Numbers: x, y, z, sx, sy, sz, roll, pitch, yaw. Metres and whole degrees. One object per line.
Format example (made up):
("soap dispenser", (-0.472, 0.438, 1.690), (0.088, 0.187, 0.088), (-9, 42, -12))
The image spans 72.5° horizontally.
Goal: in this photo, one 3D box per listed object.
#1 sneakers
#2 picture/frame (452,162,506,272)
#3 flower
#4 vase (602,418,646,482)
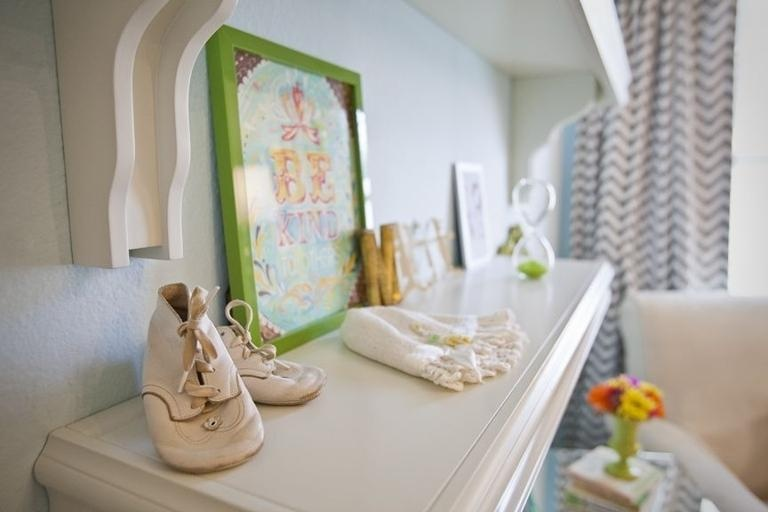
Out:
("sneakers", (-0.265, 0.171, 0.871), (0.199, 0.145, 0.302), (11, 19, -6))
("picture/frame", (0.333, -0.142, 1.879), (0.027, 0.378, 0.359), (-6, -17, 25))
("flower", (0.746, 0.437, 1.621), (0.210, 0.121, 0.211), (8, 7, 41))
("vase", (0.701, 0.575, 1.552), (0.127, 0.171, 0.132), (-3, -22, 27))
